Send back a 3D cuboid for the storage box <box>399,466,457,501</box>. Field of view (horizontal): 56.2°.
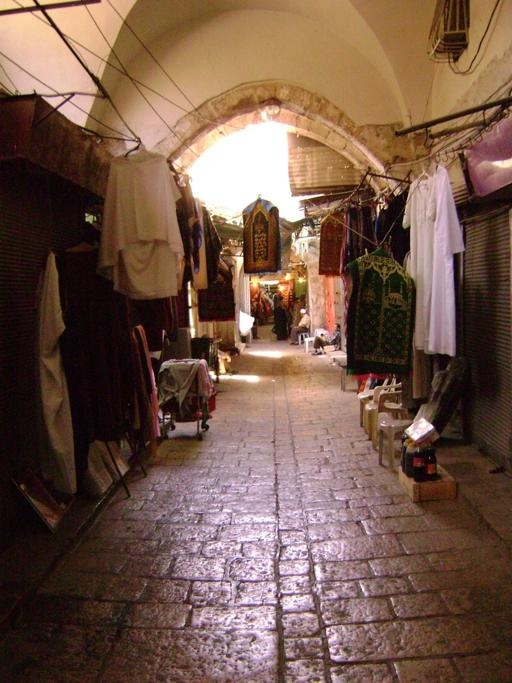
[{"bbox_3d":[1.418,1.156,3.921,0.390,0.160,0.454,-2,2,2],"label":"storage box"}]

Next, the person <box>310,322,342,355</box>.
[{"bbox_3d":[2.162,0.026,15.089,0.824,0.889,0.633,-2,-3,2],"label":"person"}]

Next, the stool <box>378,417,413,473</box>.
[{"bbox_3d":[1.410,1.058,4.730,0.331,0.393,0.364,9,-7,28],"label":"stool"}]

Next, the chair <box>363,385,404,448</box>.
[{"bbox_3d":[1.444,0.751,5.287,0.460,0.571,0.462,-3,8,-13],"label":"chair"}]

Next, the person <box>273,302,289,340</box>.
[{"bbox_3d":[1.157,-0.946,22.321,0.629,1.807,1.405,-2,2,2],"label":"person"}]

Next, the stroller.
[{"bbox_3d":[-0.903,0.663,6.152,0.616,0.894,0.782,-1,2,2],"label":"stroller"}]

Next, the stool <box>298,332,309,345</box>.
[{"bbox_3d":[1.970,-0.120,19.929,0.335,0.529,0.426,0,-9,2],"label":"stool"}]

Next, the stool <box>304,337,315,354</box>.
[{"bbox_3d":[1.870,0.145,16.777,0.460,0.479,0.478,-1,-8,3],"label":"stool"}]
